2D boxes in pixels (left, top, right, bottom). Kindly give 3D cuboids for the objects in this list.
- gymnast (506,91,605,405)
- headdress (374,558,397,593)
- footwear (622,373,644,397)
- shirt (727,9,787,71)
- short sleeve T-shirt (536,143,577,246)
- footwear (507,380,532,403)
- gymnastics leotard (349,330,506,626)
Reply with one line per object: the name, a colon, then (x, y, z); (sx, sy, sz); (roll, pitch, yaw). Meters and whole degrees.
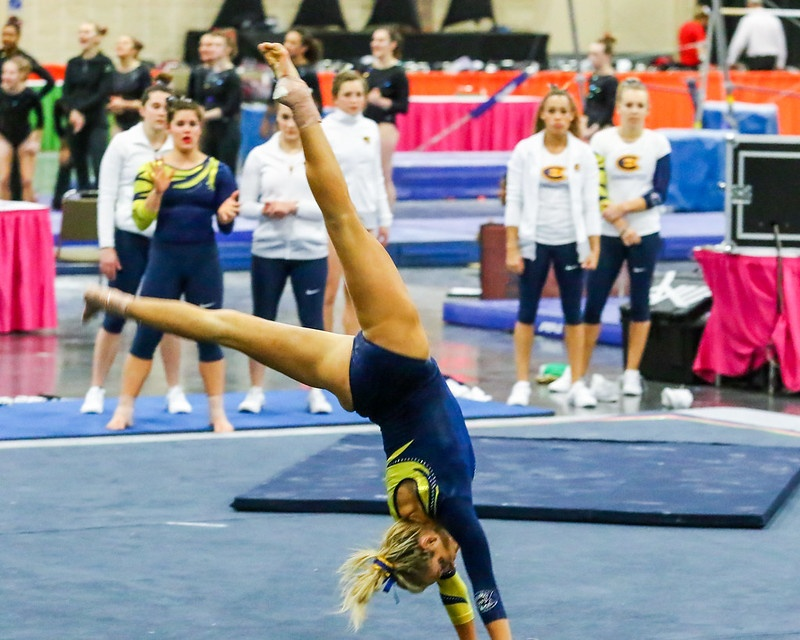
gymnast: (0.942, -0.437, 10.089); (0.659, 1.997, 0.525); (3, 1, 8)
headdress: (-0.057, 1.071, 6.654); (0.042, 0.131, 0.099); (7, 13, -28)
footwear: (1.480, 0.428, 10.352); (0.158, 0.163, 0.425); (-2, 0, 4)
shirt: (4.120, -3.265, 18.671); (0.575, 0.791, 2.124); (3, 14, 13)
short sleeve T-shirt: (0.941, -0.745, 9.879); (0.336, 0.517, 0.144); (3, 8, 12)
footwear: (0.740, 0.465, 10.081); (0.073, 0.075, 0.251); (3, 26, 11)
gymnastics leotard: (0.144, 0.650, 6.798); (0.839, 1.125, 0.383); (12, 19, 39)
